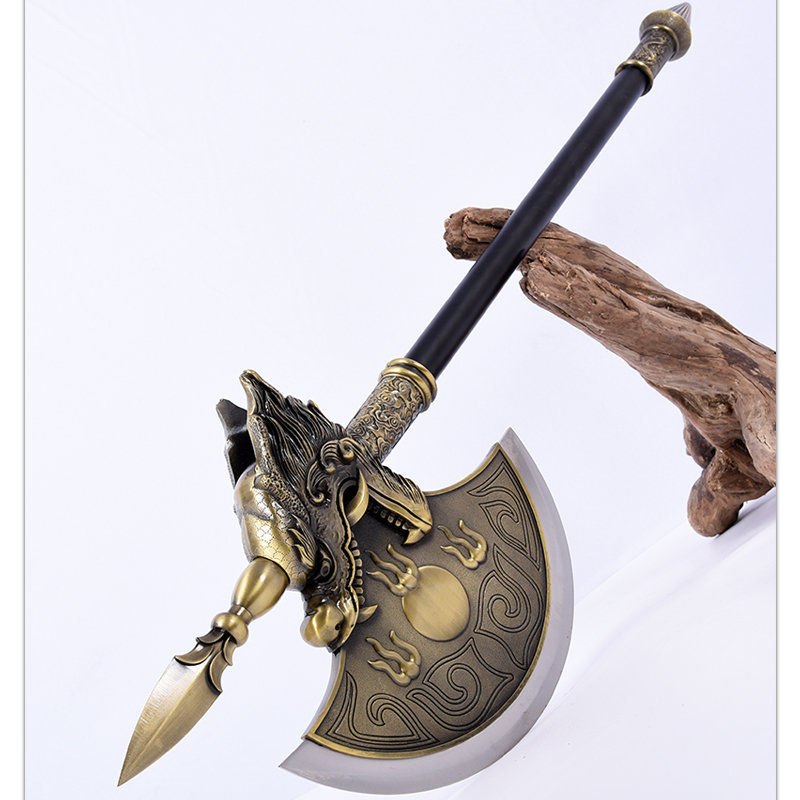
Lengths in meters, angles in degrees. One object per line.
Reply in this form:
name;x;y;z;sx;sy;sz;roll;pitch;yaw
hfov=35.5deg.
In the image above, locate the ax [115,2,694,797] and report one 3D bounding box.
ax;-0.038;0.261;1.805;0.642;0.563;0.384;24;-59;-25
